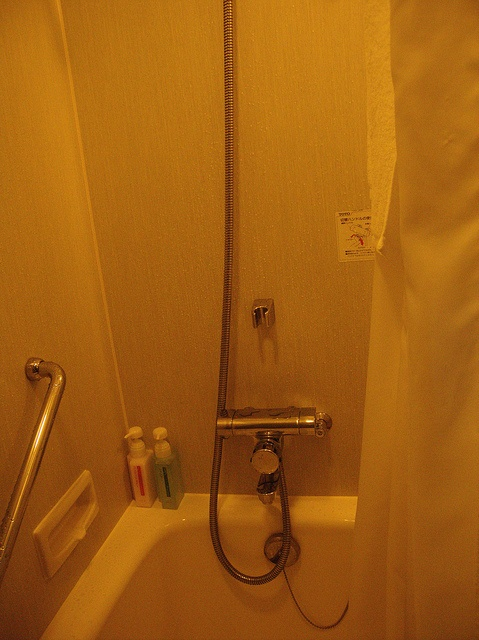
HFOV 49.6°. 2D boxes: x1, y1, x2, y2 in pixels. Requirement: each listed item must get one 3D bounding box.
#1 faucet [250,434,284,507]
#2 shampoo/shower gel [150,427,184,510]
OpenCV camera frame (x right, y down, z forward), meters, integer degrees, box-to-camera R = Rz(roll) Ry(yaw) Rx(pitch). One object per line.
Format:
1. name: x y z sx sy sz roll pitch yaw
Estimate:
1. faucet: 0.048 0.298 1.043 0.054 0.154 0.098 1 8 8
2. shampoo/shower gel: -0.158 0.330 1.163 0.034 0.204 0.050 4 24 23
